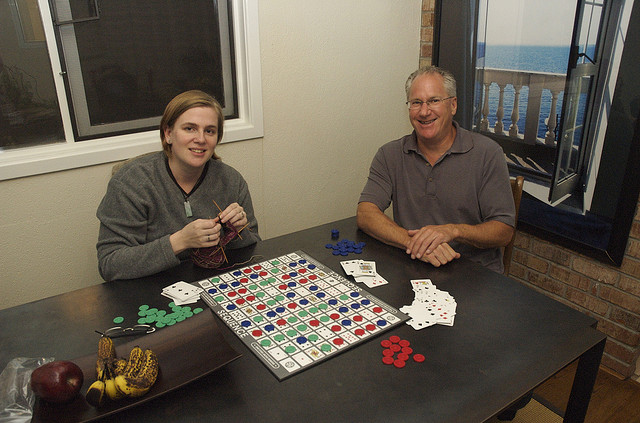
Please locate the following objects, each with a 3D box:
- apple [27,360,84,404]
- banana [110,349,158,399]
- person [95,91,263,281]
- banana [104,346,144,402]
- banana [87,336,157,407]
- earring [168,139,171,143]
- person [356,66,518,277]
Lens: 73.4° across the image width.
[{"bbox_3d":[-0.890,0.570,1.526,0.173,0.156,0.156,1,-7,10],"label":"apple"},{"bbox_3d":[-0.683,0.576,1.573,0.176,0.061,0.218,3,21,-17],"label":"banana"},{"bbox_3d":[-0.743,-0.097,2.389,0.909,1.094,0.739,-5,21,-37],"label":"person"},{"bbox_3d":[-0.680,0.580,1.569,0.061,0.125,0.199,-27,13,0],"label":"banana"},{"bbox_3d":[-0.714,0.551,1.562,0.235,0.107,0.343,-5,20,-27],"label":"banana"},{"bbox_3d":[-0.813,-0.382,2.328,0.020,0.018,0.006,14,31,34],"label":"earring"},{"bbox_3d":[0.665,-0.139,2.579,0.948,1.387,0.958,1,13,27],"label":"person"}]
